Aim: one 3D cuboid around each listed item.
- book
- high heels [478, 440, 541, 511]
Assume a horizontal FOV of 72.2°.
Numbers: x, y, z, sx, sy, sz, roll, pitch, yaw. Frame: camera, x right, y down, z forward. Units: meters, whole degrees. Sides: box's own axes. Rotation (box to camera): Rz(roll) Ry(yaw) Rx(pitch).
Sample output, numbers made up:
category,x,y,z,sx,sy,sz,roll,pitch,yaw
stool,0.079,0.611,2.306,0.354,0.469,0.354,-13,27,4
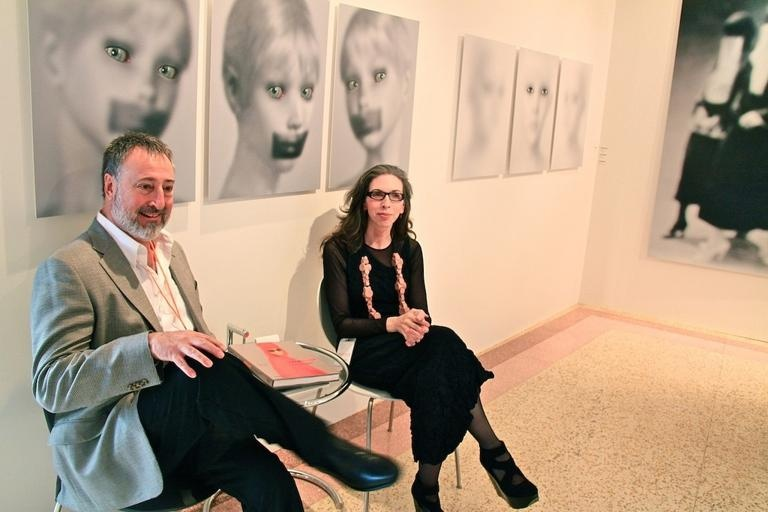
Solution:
category,x,y,z,sx,sy,sz,roll,pitch,yaw
book,-0.450,0.504,2.385,0.357,0.056,0.373,5,9,-40
high heels,0.657,1.146,2.729,0.184,0.189,0.461,-2,13,-28
